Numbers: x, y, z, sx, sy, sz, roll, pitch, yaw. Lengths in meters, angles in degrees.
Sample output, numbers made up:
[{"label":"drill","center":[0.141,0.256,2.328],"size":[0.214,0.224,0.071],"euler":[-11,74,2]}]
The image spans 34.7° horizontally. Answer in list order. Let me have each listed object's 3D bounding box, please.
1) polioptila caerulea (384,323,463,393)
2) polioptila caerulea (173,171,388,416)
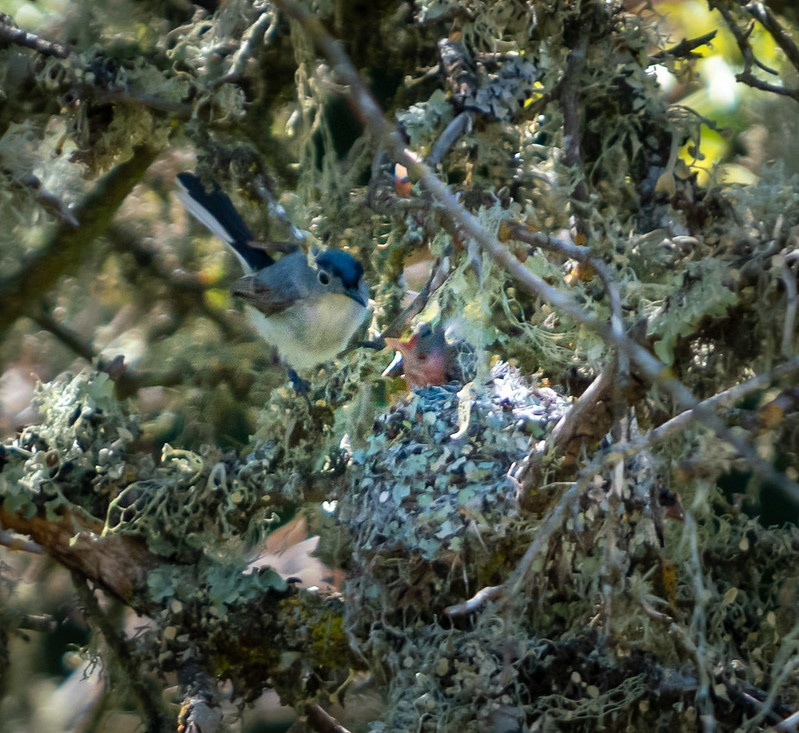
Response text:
[{"label":"polioptila caerulea","center":[0.077,-0.025,3.383],"size":[0.137,0.096,0.208],"euler":[2,7,-8]},{"label":"polioptila caerulea","center":[-0.326,-0.224,3.501],"size":[0.292,0.458,0.822],"euler":[-10,34,-34]}]
